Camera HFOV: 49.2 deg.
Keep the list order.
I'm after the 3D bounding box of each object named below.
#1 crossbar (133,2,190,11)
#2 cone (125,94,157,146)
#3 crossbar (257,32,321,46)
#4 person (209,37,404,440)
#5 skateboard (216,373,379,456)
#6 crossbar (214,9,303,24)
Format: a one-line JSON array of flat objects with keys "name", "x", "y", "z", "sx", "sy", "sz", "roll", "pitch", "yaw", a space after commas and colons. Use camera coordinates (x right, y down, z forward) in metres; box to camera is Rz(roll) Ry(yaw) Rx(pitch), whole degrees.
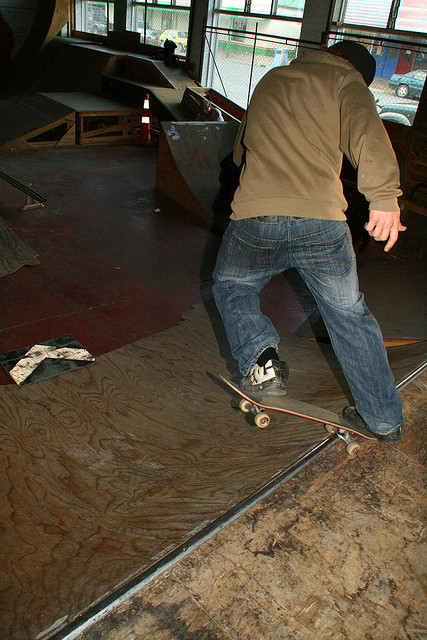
[{"name": "crossbar", "x": -1.410, "y": -8.337, "z": 12.338, "sx": 0.235, "sy": 0.208, "sz": 2.254, "roll": -16, "pitch": 34, "yaw": -40}, {"name": "cone", "x": -1.159, "y": -3.454, "z": 8.014, "sx": 0.588, "sy": 0.763, "sz": 0.523, "roll": -16, "pitch": 43, "yaw": -30}, {"name": "crossbar", "x": 1.513, "y": -5.384, "z": 8.920, "sx": 0.585, "sy": 0.197, "sz": 1.528, "roll": -12, "pitch": 32, "yaw": -36}, {"name": "person", "x": 0.485, "y": -0.395, "z": 2.121, "sx": 0.870, "sy": 1.654, "sz": 0.807, "roll": 9, "pitch": -3, "yaw": 26}, {"name": "skateboard", "x": 0.364, "y": 0.424, "z": 2.033, "sx": 0.544, "sy": 0.088, "sz": 0.137, "roll": 21, "pitch": 20, "yaw": 4}, {"name": "crossbar", "x": 0.992, "y": -6.751, "z": 10.340, "sx": 0.267, "sy": 0.280, "sz": 2.532, "roll": -18, "pitch": 35, "yaw": -42}]
